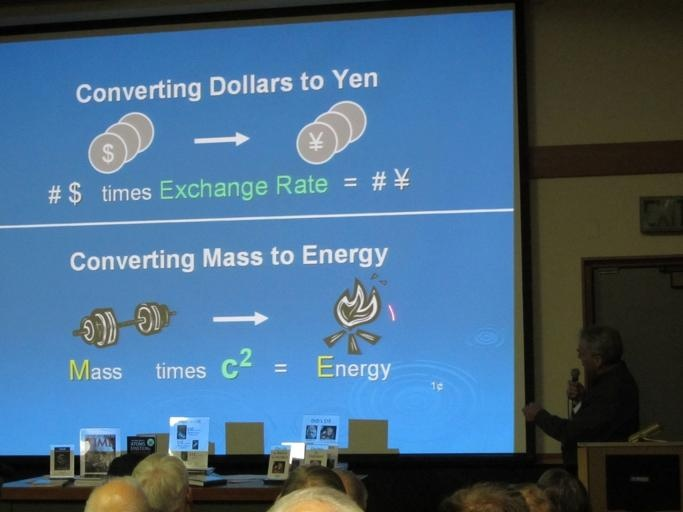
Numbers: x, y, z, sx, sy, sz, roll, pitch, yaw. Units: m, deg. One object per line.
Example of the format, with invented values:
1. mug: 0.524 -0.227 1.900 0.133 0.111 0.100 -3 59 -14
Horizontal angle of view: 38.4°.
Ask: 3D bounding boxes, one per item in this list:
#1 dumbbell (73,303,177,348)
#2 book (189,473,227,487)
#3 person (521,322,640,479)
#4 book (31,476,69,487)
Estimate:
1. dumbbell: -1.599 0.508 7.230 0.760 0.306 0.034 -4 -9 7
2. book: -0.910 1.529 6.713 0.256 0.080 0.158 1 -10 -20
3. person: 1.615 0.945 6.519 0.664 0.947 0.258 -4 -10 11
4. book: -2.040 1.565 6.810 0.305 0.060 0.149 -7 -11 26
